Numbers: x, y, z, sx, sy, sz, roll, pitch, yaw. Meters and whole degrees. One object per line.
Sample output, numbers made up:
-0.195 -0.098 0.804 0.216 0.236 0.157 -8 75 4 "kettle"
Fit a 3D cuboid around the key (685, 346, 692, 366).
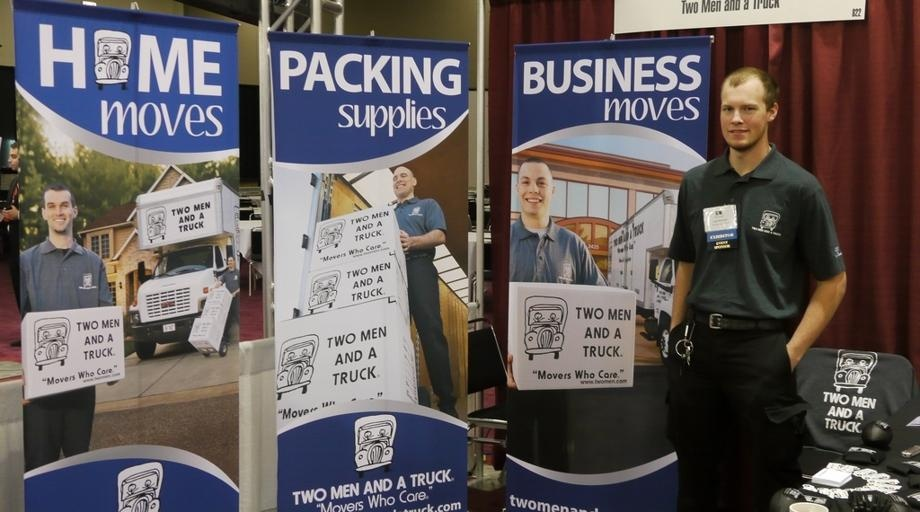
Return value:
1.370 0.619 7.125 0.032 0.096 0.048 9 15 38 "key"
